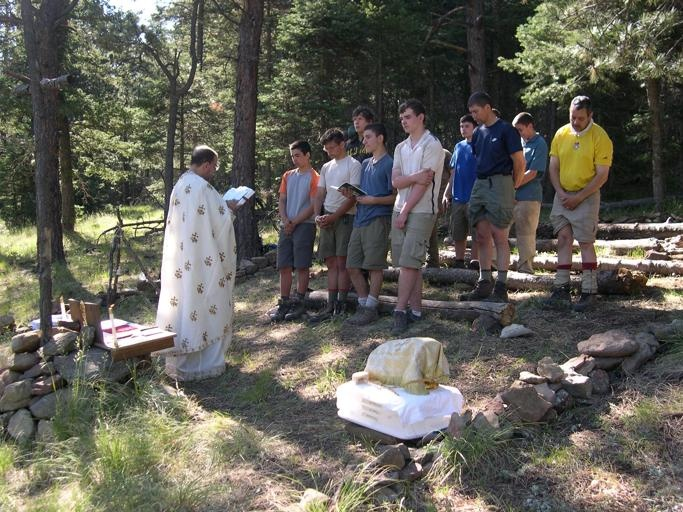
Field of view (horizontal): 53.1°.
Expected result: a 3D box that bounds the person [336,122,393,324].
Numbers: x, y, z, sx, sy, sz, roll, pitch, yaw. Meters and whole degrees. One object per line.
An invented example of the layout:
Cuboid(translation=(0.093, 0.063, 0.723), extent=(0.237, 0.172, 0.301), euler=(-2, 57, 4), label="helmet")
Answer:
Cuboid(translation=(0.373, -0.463, 9.265), extent=(0.689, 2.658, 0.551), euler=(0, 7, 3), label="person")

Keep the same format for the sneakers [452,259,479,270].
Cuboid(translation=(1.927, 0.116, 10.647), extent=(0.406, 0.203, 0.146), euler=(8, 10, 26), label="sneakers")

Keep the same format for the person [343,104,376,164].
Cuboid(translation=(0.266, -1.620, 10.278), extent=(0.524, 1.264, 0.362), euler=(4, 3, 26), label="person")

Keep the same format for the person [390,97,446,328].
Cuboid(translation=(0.964, -0.553, 8.762), extent=(0.635, 2.878, 0.648), euler=(1, 7, 4), label="person")

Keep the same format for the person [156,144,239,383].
Cuboid(translation=(-1.812, 0.061, 8.524), extent=(0.978, 2.852, 0.754), euler=(-1, 7, -11), label="person")

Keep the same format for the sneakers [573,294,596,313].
Cuboid(translation=(3.144, 0.566, 8.785), extent=(0.204, 0.220, 0.362), euler=(6, 10, 40), label="sneakers")

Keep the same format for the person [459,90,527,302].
Cuboid(translation=(2.023, -0.793, 9.112), extent=(0.752, 2.721, 0.435), euler=(2, 7, 13), label="person")

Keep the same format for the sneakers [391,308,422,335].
Cuboid(translation=(0.829, 0.801, 8.800), extent=(0.220, 0.284, 0.511), euler=(5, 9, 33), label="sneakers")
